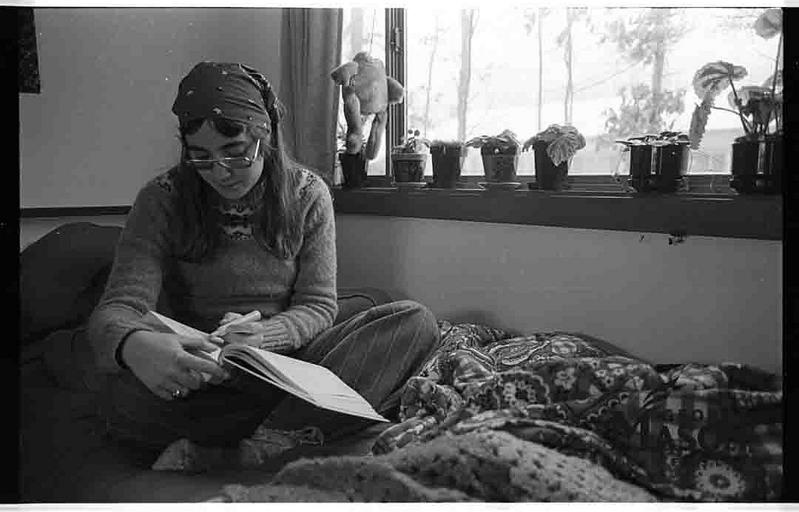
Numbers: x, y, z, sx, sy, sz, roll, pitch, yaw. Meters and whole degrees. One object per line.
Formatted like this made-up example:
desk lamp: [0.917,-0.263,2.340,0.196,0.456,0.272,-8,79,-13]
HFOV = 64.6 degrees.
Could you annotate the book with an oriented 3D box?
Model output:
book: [-0.427,0.361,2.013,0.780,0.336,0.140,3,6,5]

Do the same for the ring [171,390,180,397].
ring: [-0.725,0.449,2.046,0.018,0.021,0.024,7,-11,-22]

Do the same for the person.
person: [-0.524,0.020,2.124,1.175,1.226,0.849,-5,8,-22]
